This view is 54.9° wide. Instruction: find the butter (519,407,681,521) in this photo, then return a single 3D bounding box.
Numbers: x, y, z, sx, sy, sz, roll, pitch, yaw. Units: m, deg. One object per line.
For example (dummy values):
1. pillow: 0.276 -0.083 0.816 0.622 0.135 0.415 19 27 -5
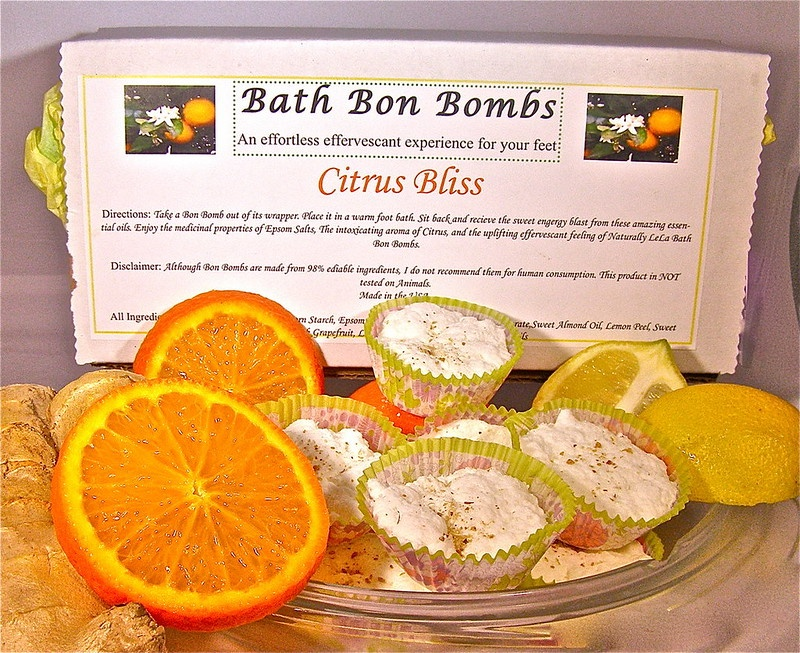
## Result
1. butter: 0.230 0.179 0.939 0.205 0.065 0.184 7 29 -18
